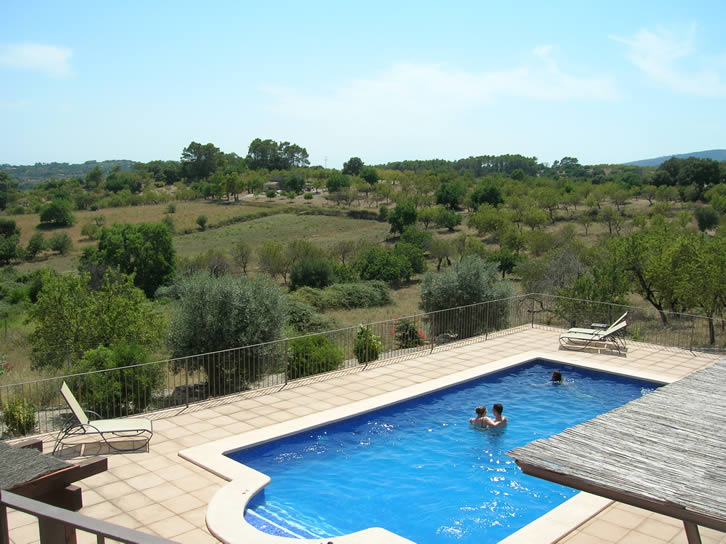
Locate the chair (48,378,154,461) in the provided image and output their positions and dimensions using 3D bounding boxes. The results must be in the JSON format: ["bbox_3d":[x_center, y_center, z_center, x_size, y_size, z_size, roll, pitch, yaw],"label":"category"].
[{"bbox_3d":[-5.652,3.177,13.334,1.920,1.277,1.072,3,1,-25],"label":"chair"}]

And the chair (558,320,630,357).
[{"bbox_3d":[7.929,2.360,21.165,1.456,0.755,1.567,2,4,22],"label":"chair"}]
